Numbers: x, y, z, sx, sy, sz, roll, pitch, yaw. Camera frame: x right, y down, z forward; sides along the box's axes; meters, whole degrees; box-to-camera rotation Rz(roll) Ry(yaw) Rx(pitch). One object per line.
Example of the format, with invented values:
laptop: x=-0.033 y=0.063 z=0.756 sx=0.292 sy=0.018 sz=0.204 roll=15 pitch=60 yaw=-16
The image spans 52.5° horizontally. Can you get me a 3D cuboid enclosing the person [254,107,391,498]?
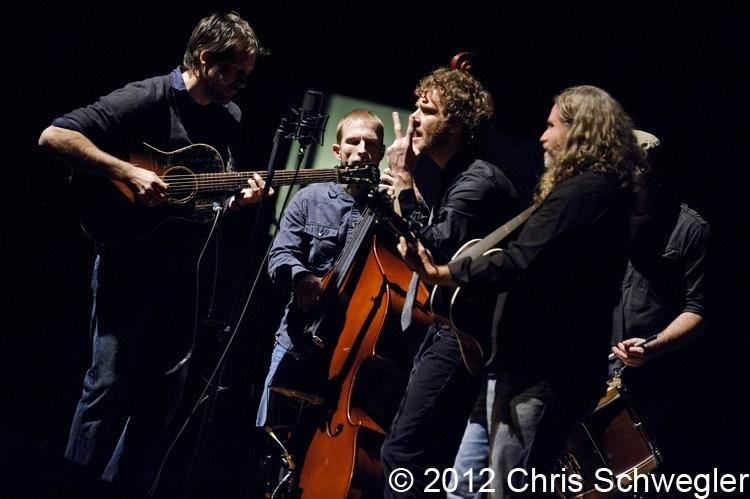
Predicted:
person: x=-0.291 y=0.371 z=5.916 sx=1.036 sy=2.636 sz=0.827 roll=-5 pitch=-15 yaw=41
